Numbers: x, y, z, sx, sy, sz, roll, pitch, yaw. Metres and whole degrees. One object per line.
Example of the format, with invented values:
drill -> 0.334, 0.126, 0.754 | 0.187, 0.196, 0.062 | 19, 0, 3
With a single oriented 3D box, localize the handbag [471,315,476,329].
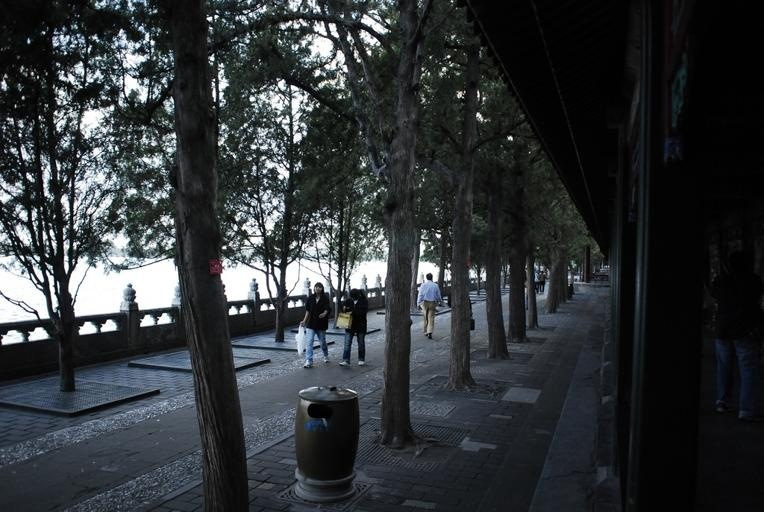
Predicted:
handbag -> 3.566, 2.697, 23.407 | 0.138, 0.471, 0.483 | -4, -1, -1

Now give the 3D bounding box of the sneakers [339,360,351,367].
sneakers -> -0.980, 2.744, 15.246 | 0.295, 0.168, 0.119 | 6, -6, -2

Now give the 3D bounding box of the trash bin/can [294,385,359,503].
trash bin/can -> -0.717, 2.327, 7.637 | 0.740, 1.375, 0.790 | 4, 6, 17

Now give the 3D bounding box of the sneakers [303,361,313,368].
sneakers -> -1.924, 2.769, 15.190 | 0.188, 0.186, 0.293 | -5, -1, -7
